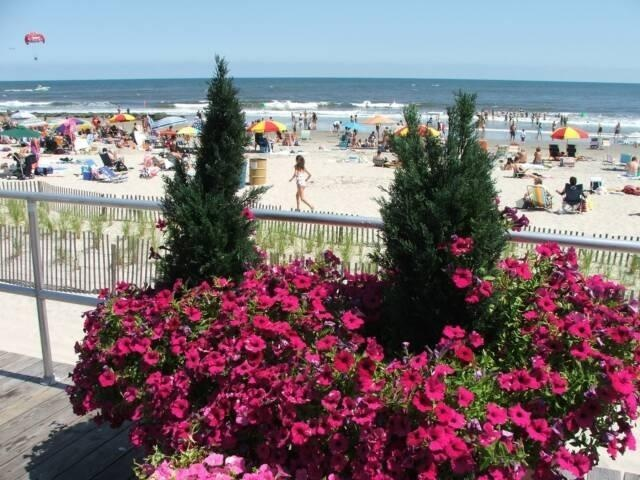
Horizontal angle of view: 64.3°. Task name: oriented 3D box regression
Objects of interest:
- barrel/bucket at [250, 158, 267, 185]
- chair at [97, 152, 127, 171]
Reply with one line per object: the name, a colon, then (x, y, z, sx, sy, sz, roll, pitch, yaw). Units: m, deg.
barrel/bucket: (-2.347, -2.559, 18.924, 0.562, 0.947, 0.842, -6, 15, -18)
chair: (-8.878, -3.334, 21.891, 0.892, 0.820, 1.015, -6, 15, -19)
